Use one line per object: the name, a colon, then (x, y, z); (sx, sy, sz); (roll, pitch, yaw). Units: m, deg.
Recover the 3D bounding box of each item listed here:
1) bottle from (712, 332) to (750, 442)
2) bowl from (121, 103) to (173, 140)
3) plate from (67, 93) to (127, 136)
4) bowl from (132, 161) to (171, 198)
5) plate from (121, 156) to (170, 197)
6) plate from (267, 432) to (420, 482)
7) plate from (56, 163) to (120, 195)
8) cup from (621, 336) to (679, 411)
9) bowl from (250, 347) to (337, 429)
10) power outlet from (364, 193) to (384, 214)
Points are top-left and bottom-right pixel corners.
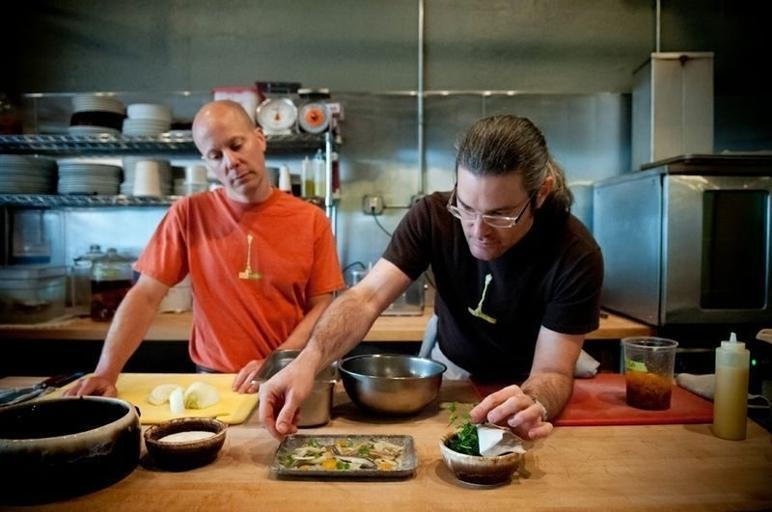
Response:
bottle: (1.633, 0.608, 3.080); (0.206, 0.486, 0.133); (-1, 6, 0)
bowl: (-1.793, -1.007, 4.880); (0.325, 0.182, 0.292); (0, 6, -4)
plate: (-2.156, -1.045, 4.964); (0.392, 0.240, 0.358); (0, 0, -7)
bowl: (-1.742, -0.587, 5.033); (0.331, 0.296, 0.295); (0, 9, -13)
plate: (-1.855, -0.614, 5.144); (0.422, 0.339, 0.375); (2, 2, 7)
plate: (-0.188, 0.895, 2.925); (0.455, 0.042, 0.237); (0, 17, 3)
plate: (-2.228, -0.578, 4.909); (0.340, 0.173, 0.306); (1, 3, -6)
cup: (1.319, 0.584, 3.297); (0.244, 0.345, 0.185); (0, 6, 15)
bowl: (-0.435, 0.651, 3.173); (0.387, 0.318, 0.369); (-1, 5, 0)
power outlet: (-0.097, -0.415, 5.272); (0.186, 0.154, 0.086); (0, 1, -1)
